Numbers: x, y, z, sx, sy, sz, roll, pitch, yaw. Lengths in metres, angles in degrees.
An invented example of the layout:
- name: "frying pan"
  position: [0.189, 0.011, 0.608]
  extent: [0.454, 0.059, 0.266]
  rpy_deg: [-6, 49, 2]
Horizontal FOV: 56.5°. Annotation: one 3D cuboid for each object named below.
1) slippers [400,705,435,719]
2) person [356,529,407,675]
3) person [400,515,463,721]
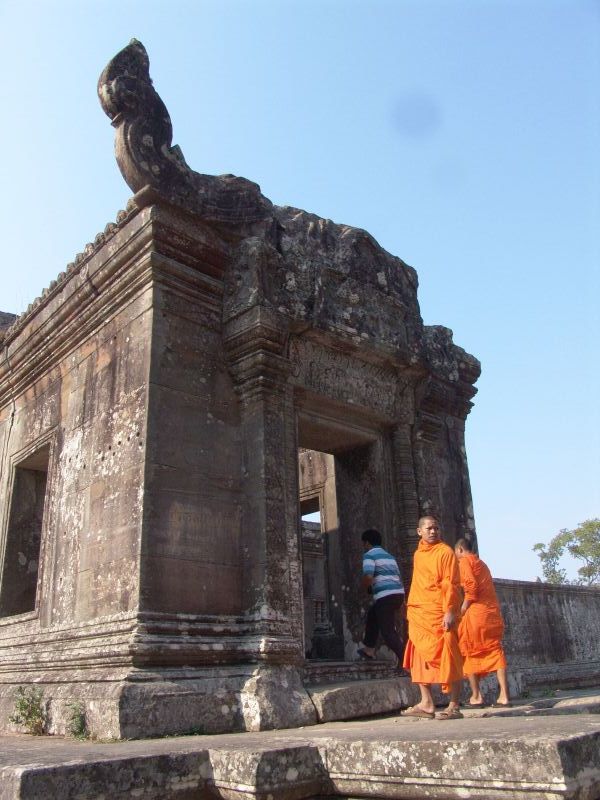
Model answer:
- name: "slippers"
  position: [0.779, 2.120, 3.772]
  extent: [0.117, 0.070, 0.436]
  rpy_deg: [5, -27, -21]
- name: "person"
  position: [0.761, 1.908, 5.391]
  extent: [0.477, 1.247, 0.684]
  rpy_deg: [-6, -20, 10]
- name: "person"
  position: [0.893, 1.499, 3.907]
  extent: [0.497, 1.301, 0.287]
  rpy_deg: [-20, -26, 41]
